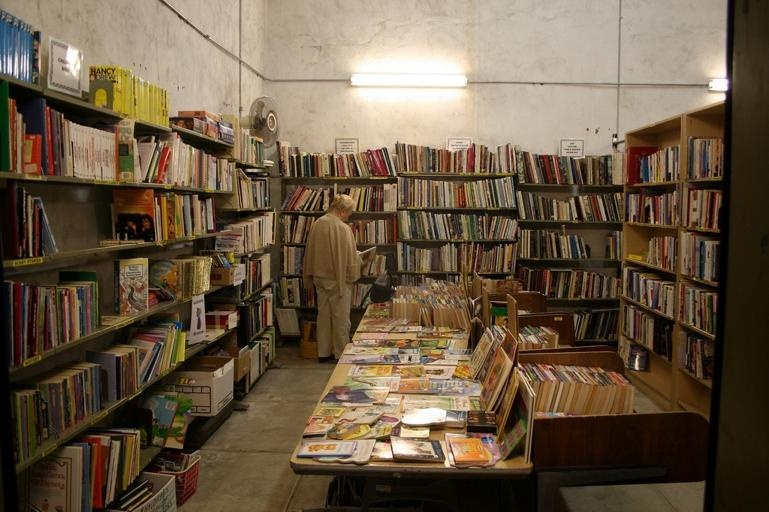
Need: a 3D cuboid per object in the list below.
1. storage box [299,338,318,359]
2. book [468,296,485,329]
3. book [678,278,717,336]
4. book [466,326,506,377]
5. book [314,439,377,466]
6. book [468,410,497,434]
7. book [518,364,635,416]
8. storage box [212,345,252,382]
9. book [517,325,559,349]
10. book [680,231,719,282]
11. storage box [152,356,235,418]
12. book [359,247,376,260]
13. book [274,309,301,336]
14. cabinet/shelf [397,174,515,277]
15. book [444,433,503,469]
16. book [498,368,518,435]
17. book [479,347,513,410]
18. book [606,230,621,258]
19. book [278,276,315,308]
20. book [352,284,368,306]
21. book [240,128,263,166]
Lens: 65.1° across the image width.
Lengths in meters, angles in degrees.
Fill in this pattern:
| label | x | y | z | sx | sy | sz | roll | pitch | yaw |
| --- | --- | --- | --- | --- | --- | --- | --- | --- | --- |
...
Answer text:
| label | x | y | z | sx | sy | sz | roll | pitch | yaw |
| --- | --- | --- | --- | --- | --- | --- | --- | --- | --- |
| storage box | -0.908 | 1.136 | 7.371 | 0.212 | 0.164 | 0.215 | 2 | -1 | 7 |
| book | 0.716 | 0.447 | 4.640 | 0.068 | 0.334 | 0.274 | 2 | -6 | -10 |
| book | 2.779 | 0.445 | 5.329 | 0.159 | 0.385 | 0.559 | 2 | 13 | 8 |
| book | 0.685 | 0.642 | 3.998 | 0.074 | 0.277 | 0.285 | 30 | -14 | -2 |
| book | -0.207 | 1.066 | 3.284 | 0.307 | 0.043 | 0.181 | 2 | 13 | 4 |
| book | 0.565 | 0.955 | 3.470 | 0.169 | 0.069 | 0.145 | 2 | 13 | 6 |
| book | 1.183 | 0.813 | 3.746 | 0.361 | 0.151 | 0.452 | 1 | 2 | 2 |
| storage box | -1.478 | 1.003 | 5.854 | 0.261 | 0.328 | 0.485 | 1 | 2 | 6 |
| book | 1.083 | 0.586 | 4.237 | 0.195 | 0.061 | 0.197 | -2 | 6 | -1 |
| book | 2.763 | 0.003 | 5.249 | 0.409 | 0.417 | 0.438 | 0 | 3 | 0 |
| storage box | -1.589 | 1.075 | 5.196 | 0.418 | 0.322 | 0.551 | 1 | 1 | 4 |
| book | -0.198 | -0.025 | 6.960 | 0.146 | 0.063 | 0.206 | -10 | 2 | -14 |
| book | -1.230 | 0.852 | 7.959 | 0.304 | 0.415 | 0.426 | -5 | 5 | 8 |
| cabinet/shelf | 0.902 | -0.360 | 7.489 | 1.232 | 1.068 | 0.440 | 0 | 5 | 0 |
| book | 0.489 | 1.065 | 3.288 | 0.295 | 0.053 | 0.253 | 1 | 13 | 4 |
| book | 0.698 | 0.826 | 3.368 | 0.040 | 0.241 | 0.298 | 18 | -39 | 2 |
| book | 0.674 | 0.741 | 3.582 | 0.029 | 0.398 | 0.397 | 25 | 7 | 4 |
| book | 2.909 | -0.138 | 7.602 | 0.189 | 0.323 | 0.351 | 0 | 2 | 7 |
| book | -1.118 | 0.393 | 7.738 | 0.504 | 0.480 | 0.364 | -2 | 2 | -45 |
| book | -0.311 | 0.502 | 7.916 | 0.213 | 0.375 | 0.383 | 5 | 2 | 3 |
| book | -1.422 | -1.160 | 6.504 | 0.130 | 0.366 | 0.397 | 8 | 16 | 8 |
